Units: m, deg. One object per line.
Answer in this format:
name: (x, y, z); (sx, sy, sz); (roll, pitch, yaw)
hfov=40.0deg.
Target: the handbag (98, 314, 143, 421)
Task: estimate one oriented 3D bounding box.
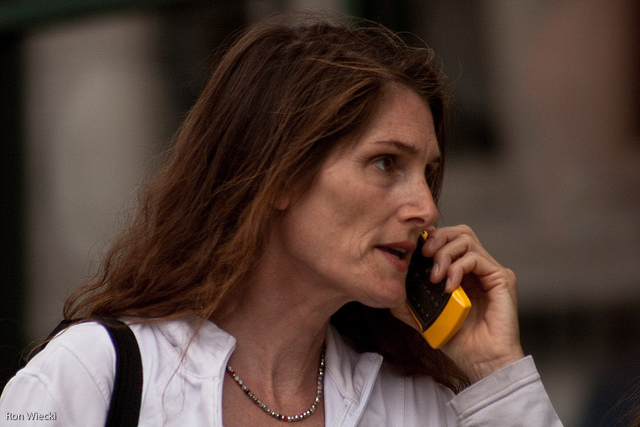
handbag: (-1.038, 0.833, 4.660); (0.194, 0.476, 0.260); (-3, 11, -15)
